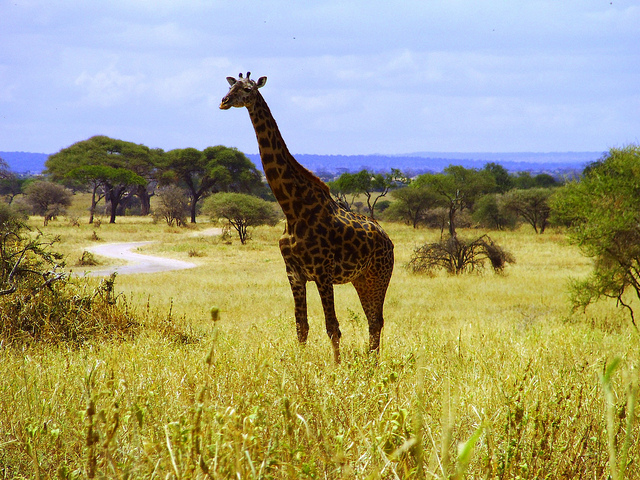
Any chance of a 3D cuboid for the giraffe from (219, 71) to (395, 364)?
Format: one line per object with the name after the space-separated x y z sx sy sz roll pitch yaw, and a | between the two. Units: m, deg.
-0.053 -0.368 10.300 2.318 3.897 0.916 -1 3 -11 | giraffe
